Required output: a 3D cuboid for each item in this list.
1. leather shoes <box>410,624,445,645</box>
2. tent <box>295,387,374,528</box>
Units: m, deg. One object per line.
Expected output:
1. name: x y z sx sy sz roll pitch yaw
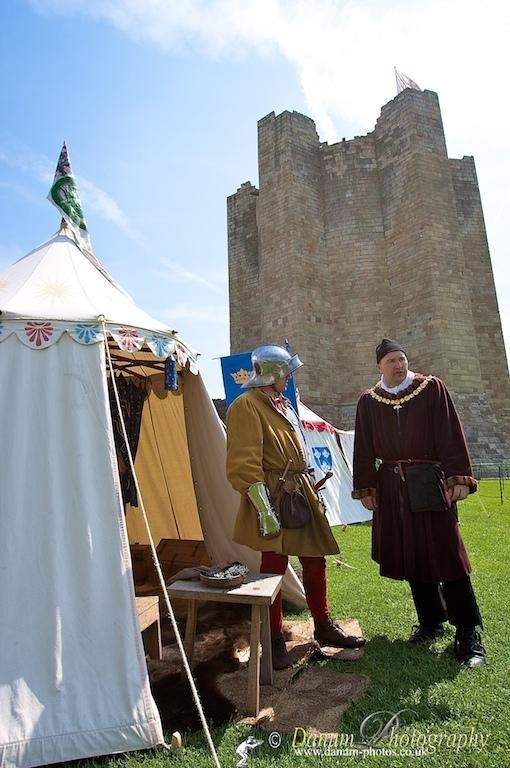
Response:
1. leather shoes: 1.153 1.529 3.727 0.260 0.102 0.093 18 -26 -37
2. tent: 1.336 1.181 9.490 1.118 2.459 1.211 5 -1 16
